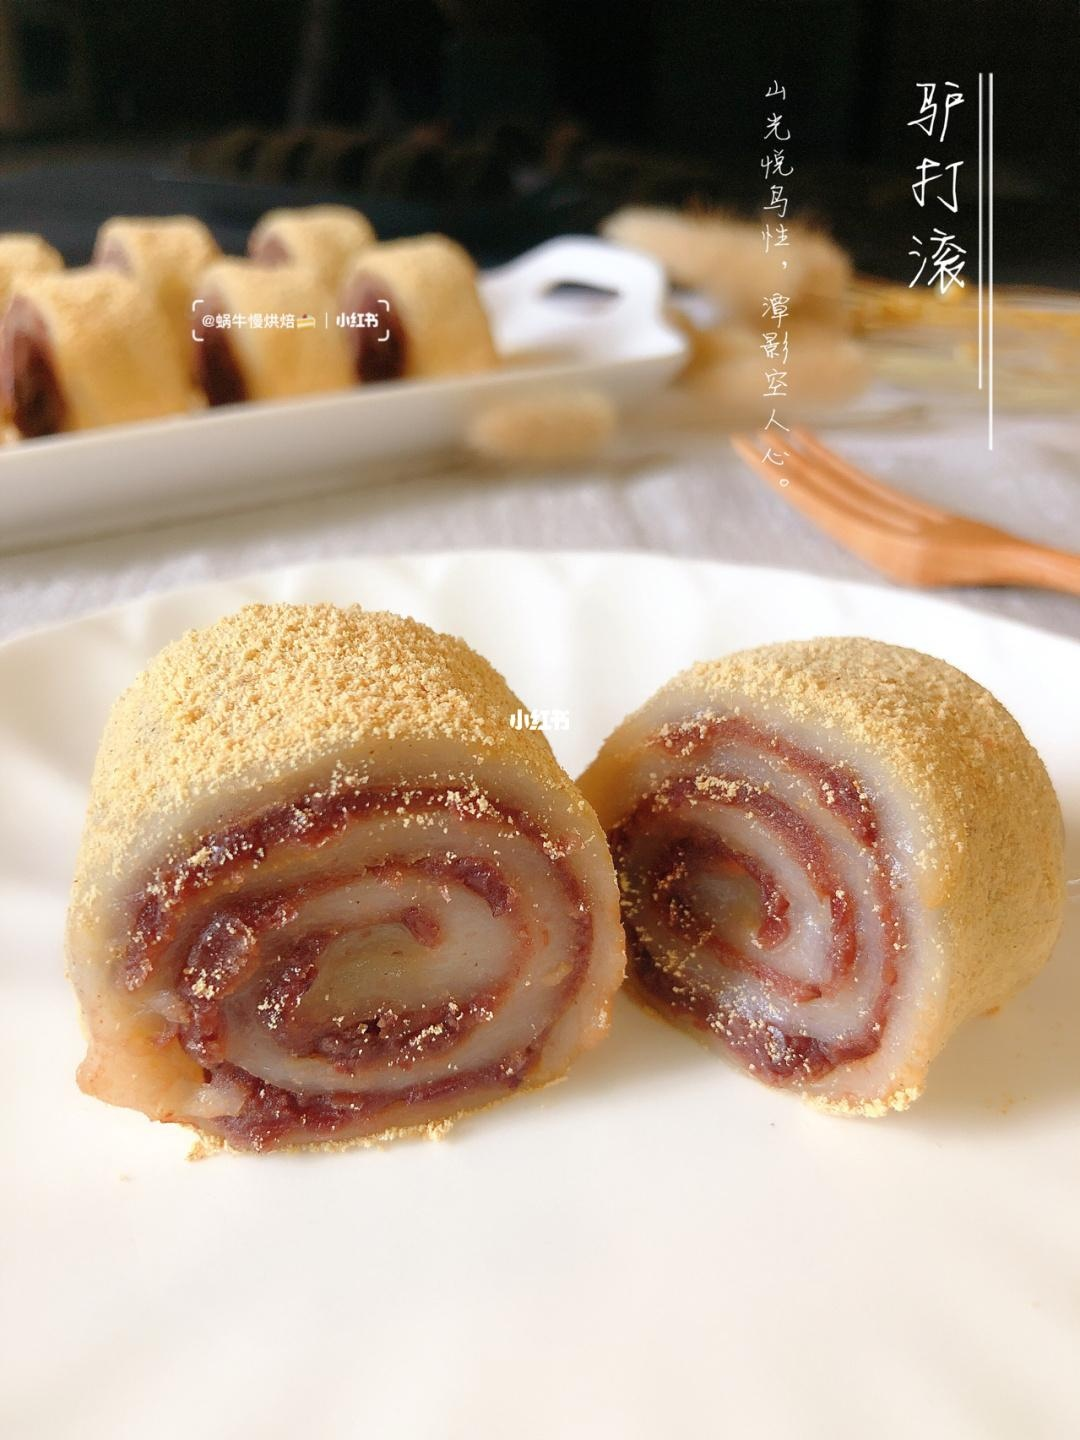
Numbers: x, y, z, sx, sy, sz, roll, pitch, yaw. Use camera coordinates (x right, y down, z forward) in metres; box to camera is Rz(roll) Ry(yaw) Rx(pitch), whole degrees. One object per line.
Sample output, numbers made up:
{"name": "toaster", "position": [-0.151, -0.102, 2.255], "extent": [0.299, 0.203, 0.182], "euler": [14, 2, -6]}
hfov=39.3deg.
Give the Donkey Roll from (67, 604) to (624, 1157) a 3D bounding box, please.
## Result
{"name": "Donkey Roll", "position": [-0.098, 0.126, 1.095], "extent": [0.390, 0.250, 0.363], "euler": [-2, 25, 1]}
